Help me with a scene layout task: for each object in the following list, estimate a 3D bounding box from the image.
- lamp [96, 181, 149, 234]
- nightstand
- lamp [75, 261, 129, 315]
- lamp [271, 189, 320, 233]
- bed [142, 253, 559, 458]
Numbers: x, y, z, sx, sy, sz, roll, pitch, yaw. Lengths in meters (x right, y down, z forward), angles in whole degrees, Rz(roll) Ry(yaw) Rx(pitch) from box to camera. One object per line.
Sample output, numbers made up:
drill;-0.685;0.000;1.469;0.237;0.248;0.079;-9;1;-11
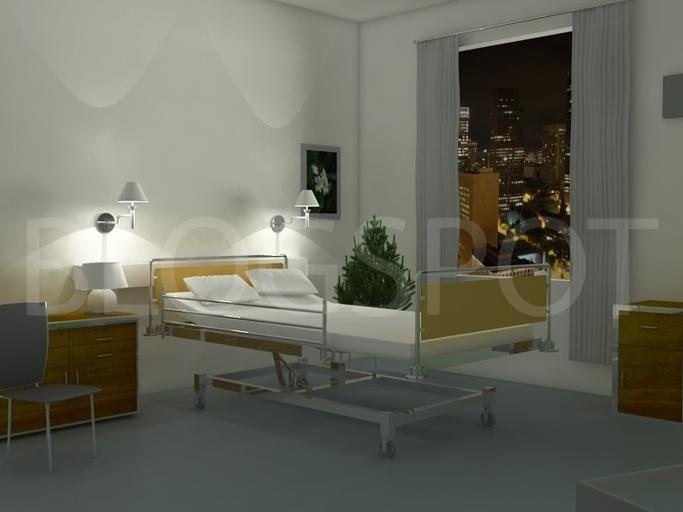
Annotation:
lamp;-2.117;-0.448;4.870;0.567;0.579;0.373;-3;-3;26
nightstand;-2.368;0.811;4.518;0.743;1.016;1.329;-1;-1;37
lamp;-2.170;0.229;4.569;0.437;0.479;0.462;-4;3;-12
lamp;-0.593;-0.542;6.237;0.650;0.534;0.381;-4;-4;39
bed;-0.024;0.725;4.587;3.508;1.149;1.508;0;1;33
